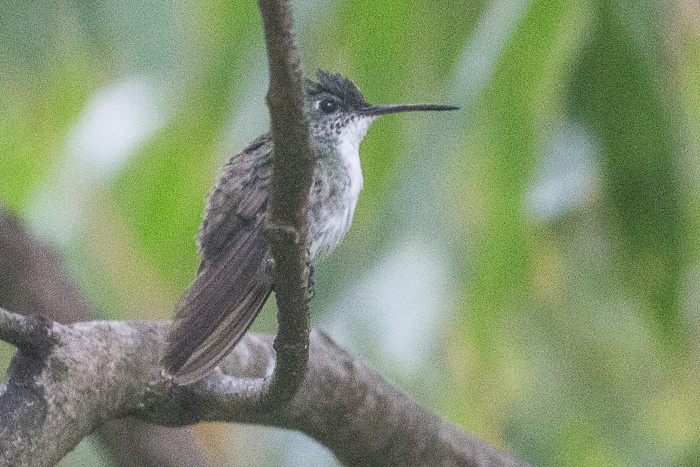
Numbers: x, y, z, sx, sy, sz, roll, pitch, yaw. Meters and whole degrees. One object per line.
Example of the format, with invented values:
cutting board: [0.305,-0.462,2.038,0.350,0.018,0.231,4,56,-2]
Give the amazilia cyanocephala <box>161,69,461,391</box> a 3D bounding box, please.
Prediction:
amazilia cyanocephala: [-0.207,-0.016,2.991,0.530,1.114,0.365,16,-38,-10]
